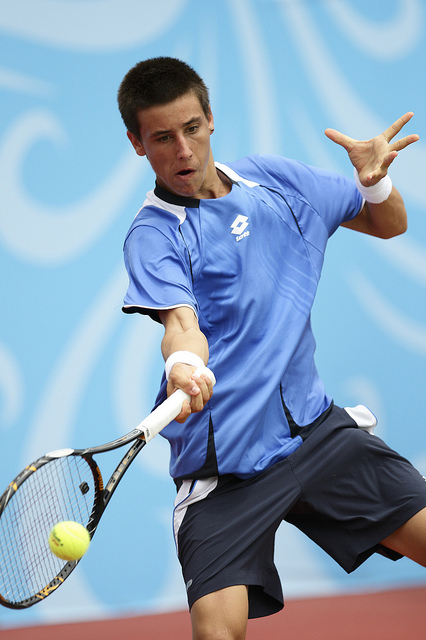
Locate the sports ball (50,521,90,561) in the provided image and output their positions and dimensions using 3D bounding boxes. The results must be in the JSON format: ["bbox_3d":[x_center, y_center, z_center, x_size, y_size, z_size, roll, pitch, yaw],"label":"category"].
[{"bbox_3d":[-0.305,0.461,1.485,0.092,0.091,0.091,1,-1,0],"label":"sports ball"}]
